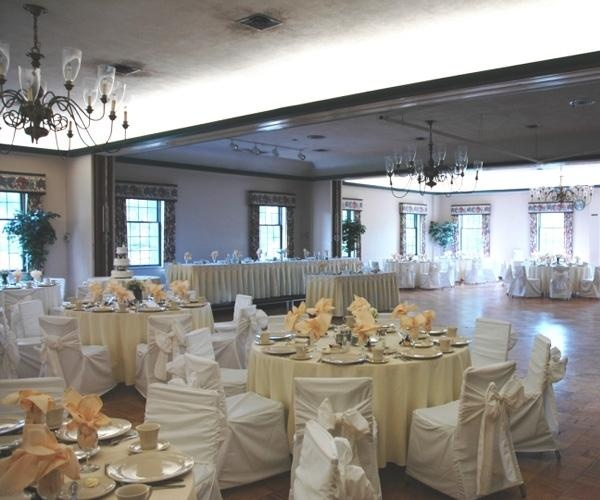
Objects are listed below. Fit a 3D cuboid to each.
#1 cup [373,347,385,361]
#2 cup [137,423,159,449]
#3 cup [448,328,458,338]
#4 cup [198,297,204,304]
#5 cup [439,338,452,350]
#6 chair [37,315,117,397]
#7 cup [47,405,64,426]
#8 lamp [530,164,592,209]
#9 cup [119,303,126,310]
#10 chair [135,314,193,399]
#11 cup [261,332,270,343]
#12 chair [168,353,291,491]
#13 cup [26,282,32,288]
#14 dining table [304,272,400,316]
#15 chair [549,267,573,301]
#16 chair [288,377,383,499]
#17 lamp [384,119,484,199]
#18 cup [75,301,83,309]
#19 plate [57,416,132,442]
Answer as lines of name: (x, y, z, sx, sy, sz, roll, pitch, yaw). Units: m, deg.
cup: (0.547, 0.729, 3.286, 0.072, 0.092, 0.076, -2, 2, 0)
cup: (-0.659, 0.809, 2.055, 0.083, 0.086, 0.101, 0, -5, -1)
cup: (1.306, 0.719, 4.032, 0.076, 0.074, 0.073, -1, 0, 0)
cup: (-1.245, 0.634, 5.893, 0.051, 0.056, 0.062, 0, -6, 6)
cup: (1.120, 0.734, 3.644, 0.083, 0.090, 0.100, 1, -5, -13)
chair: (-2.168, 1.053, 4.593, 0.487, 0.816, 0.555, 10, 20, 21)
cup: (-1.120, 0.763, 2.180, 0.073, 0.078, 0.091, 0, -3, -3)
lamp: (8.177, -1.971, 14.640, 1.623, 1.336, 5.126, 0, 0, 25)
cup: (-2.000, 0.646, 5.296, 0.066, 0.060, 0.066, -3, -4, 0)
chair: (-1.388, 1.040, 5.036, 0.595, 1.090, 0.807, -1, 6, -28)
cup: (-0.283, 0.726, 3.869, 0.066, 0.088, 0.082, 0, -5, 1)
chair: (-0.530, 1.150, 3.711, 0.861, 1.237, 0.806, -9, 9, -36)
cup: (-4.572, 0.594, 7.938, 0.080, 0.108, 0.093, -3, -12, -1)
dining table: (1.126, 0.924, 9.702, 1.893, 0.890, 0.767, -1, 1, -31)
chair: (6.728, 0.895, 12.313, 0.690, 1.247, 0.703, -1, -3, 28)
chair: (0.198, 1.115, 3.016, 0.592, 1.052, 0.629, 0, -6, -5)
lamp: (2.923, -2.027, 10.424, 1.687, 1.409, 1.740, 0, -9, -3)
cup: (-2.603, 0.654, 5.530, 0.064, 0.072, 0.082, -1, -10, -2)
plate: (-0.889, 0.782, 2.023, 0.168, 0.021, 0.186, 1, -1, 1)
